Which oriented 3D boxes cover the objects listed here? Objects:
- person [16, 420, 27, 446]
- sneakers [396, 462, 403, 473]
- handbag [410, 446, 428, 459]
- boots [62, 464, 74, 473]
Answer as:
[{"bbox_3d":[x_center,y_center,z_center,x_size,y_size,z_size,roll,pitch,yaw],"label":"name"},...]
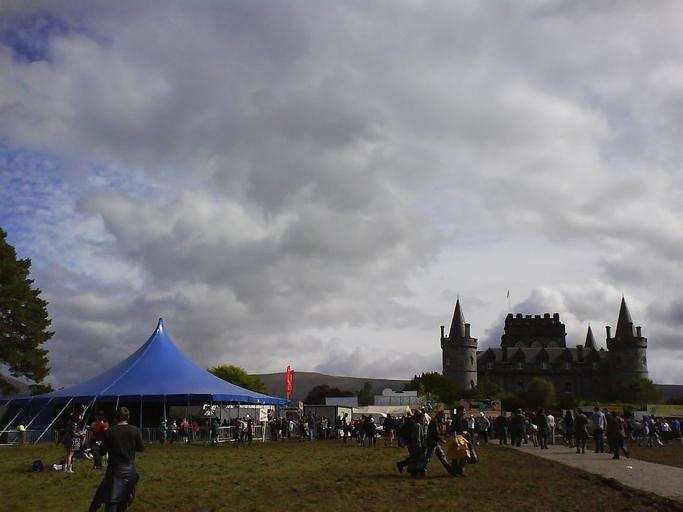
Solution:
[{"bbox_3d":[-16.949,9.411,37.002,0.451,1.017,0.846,8,-18,-24],"label":"person"},{"bbox_3d":[1.750,6.364,21.029,0.168,0.215,0.554,-5,-42,0],"label":"sneakers"},{"bbox_3d":[2.216,5.741,20.410,0.443,0.317,0.598,0,-16,3],"label":"handbag"},{"bbox_3d":[-8.684,6.739,22.197,0.319,0.242,0.821,7,-18,-20],"label":"boots"}]
